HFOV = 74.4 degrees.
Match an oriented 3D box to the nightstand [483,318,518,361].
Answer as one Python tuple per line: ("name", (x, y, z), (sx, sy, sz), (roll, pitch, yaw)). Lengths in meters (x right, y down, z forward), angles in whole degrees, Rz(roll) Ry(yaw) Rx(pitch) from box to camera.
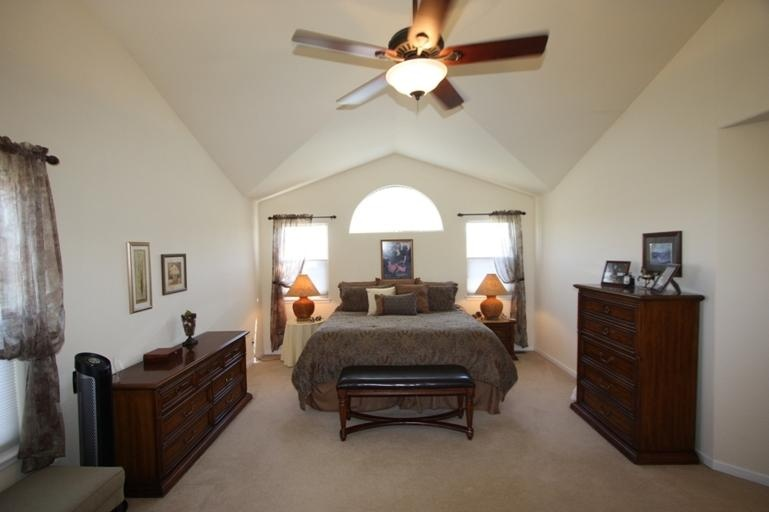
("nightstand", (1.575, 1.166, 7.309), (0.634, 0.600, 0.505), (-1, -1, 1))

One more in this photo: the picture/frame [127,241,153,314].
("picture/frame", (-2.421, 0.208, 5.032), (0.062, 0.499, 0.287), (-2, 2, 11))

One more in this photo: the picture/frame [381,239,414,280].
("picture/frame", (0.186, 0.069, 7.715), (0.577, 0.698, 0.046), (0, 5, -1))

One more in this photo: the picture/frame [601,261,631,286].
("picture/frame", (2.464, 0.196, 5.365), (0.020, 0.276, 0.268), (21, -4, -13))

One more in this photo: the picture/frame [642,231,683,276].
("picture/frame", (2.772, -0.015, 5.023), (0.034, 0.505, 0.407), (8, -8, -15))
